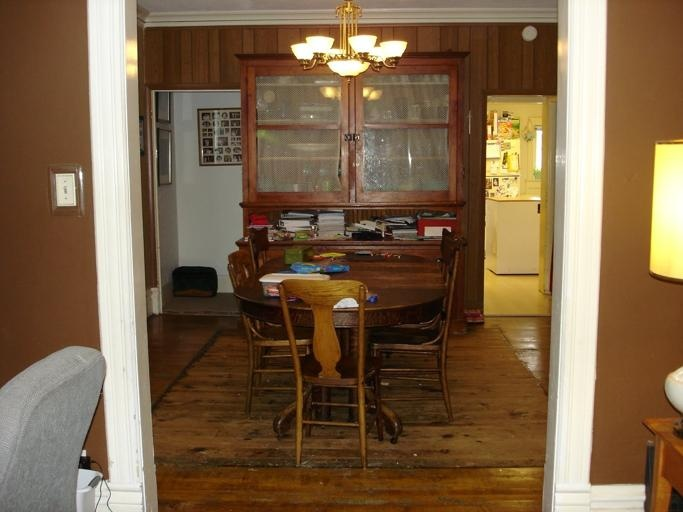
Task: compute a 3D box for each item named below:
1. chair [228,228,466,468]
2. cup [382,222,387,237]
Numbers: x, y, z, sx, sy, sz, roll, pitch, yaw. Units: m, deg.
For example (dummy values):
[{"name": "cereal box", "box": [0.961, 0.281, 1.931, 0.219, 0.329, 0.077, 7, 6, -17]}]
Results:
[{"name": "chair", "box": [0.094, 0.473, 3.387, 0.892, 1.098, 1.316, 7, 12, 33]}, {"name": "cup", "box": [0.369, -0.239, 5.308, 0.032, 0.138, 0.042, 5, -24, -4]}]
